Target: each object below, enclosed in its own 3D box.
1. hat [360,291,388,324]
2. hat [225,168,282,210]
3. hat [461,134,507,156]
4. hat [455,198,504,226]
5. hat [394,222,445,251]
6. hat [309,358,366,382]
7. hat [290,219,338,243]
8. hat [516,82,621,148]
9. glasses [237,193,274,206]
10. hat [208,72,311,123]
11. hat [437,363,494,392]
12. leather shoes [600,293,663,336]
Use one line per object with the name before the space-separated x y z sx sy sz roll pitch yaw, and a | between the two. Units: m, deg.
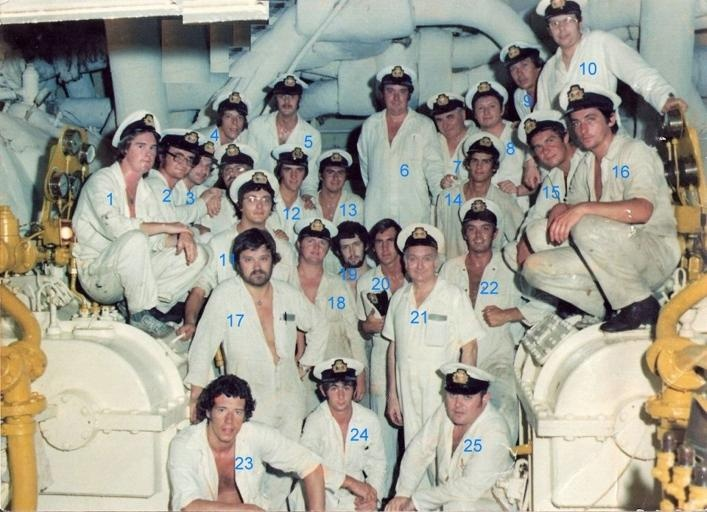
hat | 0.200 0.504 12.140 0.287 0.314 0.090 -6 -3 24
hat | -0.919 -0.677 12.171 0.377 0.104 0.383 14 -46 -31
hat | 1.335 -1.156 12.767 0.430 0.244 0.293 -1 -3 5
hat | 1.258 -0.435 12.269 0.424 0.247 0.388 -1 -3 3
hat | 0.608 -0.165 11.793 0.453 0.266 0.432 -1 -3 8
hat | -0.157 1.069 11.609 0.457 0.231 0.261 -1 -3 0
hat | -0.386 -0.258 12.293 0.428 0.216 0.357 -1 -3 0
hat | 2.022 -1.409 11.662 0.541 0.603 1.254 1 -3 -20
glasses | -0.962 -0.569 12.050 0.288 0.110 0.117 0 -3 -11
hat | -1.082 -1.696 13.514 0.953 0.525 1.299 0 -3 -13
hat | 0.997 1.108 11.178 0.482 0.274 0.305 -1 -3 13
leather shoes | 2.444 0.512 11.021 0.638 0.311 0.237 -13 10 1
